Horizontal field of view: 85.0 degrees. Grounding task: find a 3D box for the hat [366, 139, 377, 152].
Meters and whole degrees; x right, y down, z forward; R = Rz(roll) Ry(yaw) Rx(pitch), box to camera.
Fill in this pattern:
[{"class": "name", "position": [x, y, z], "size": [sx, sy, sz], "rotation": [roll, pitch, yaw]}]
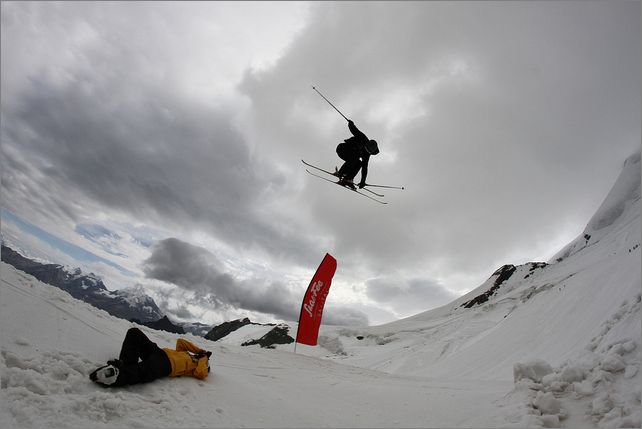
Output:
[{"class": "hat", "position": [2.018, -2.628, 14.061], "size": [0.491, 0.345, 0.529], "rotation": [6, -34, 13]}]
